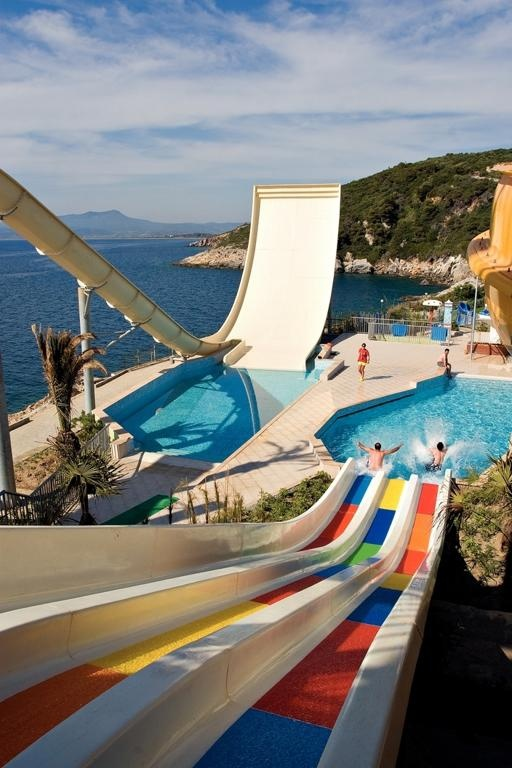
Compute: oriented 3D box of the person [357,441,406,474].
[{"bbox_3d":[2.738,1.651,10.803,0.865,0.333,1.015,6,-22,14],"label":"person"}]
